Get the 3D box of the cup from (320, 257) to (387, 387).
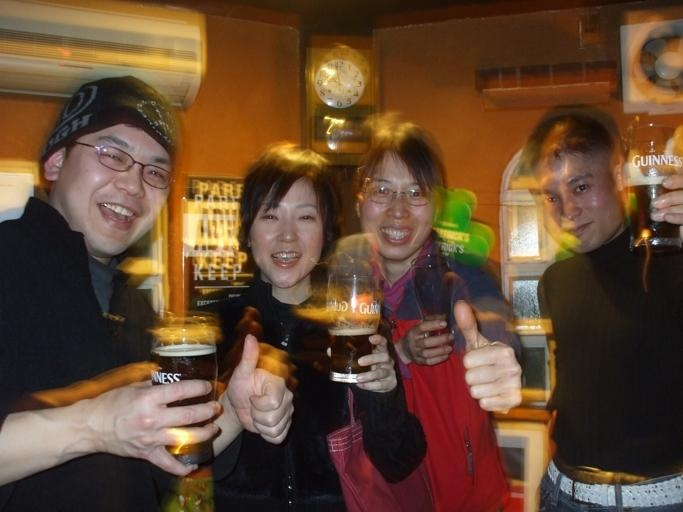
[{"bbox_3d":[0.064,0.332,2.519,0.242,0.507,0.160,-2,3,0],"label":"cup"}]
